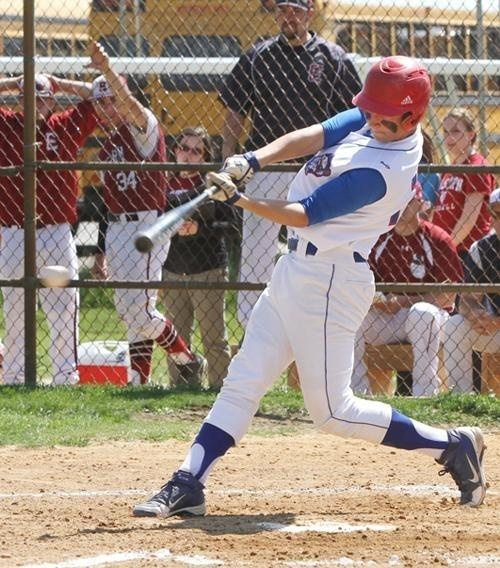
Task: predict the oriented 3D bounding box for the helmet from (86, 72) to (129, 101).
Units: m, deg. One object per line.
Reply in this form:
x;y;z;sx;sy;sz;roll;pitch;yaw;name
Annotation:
-0.876;-1.163;5.647;0.137;0.100;0.198;-26;15;13;helmet

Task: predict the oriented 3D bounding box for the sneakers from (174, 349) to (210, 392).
-0.371;0.534;5.877;0.252;0.278;0.193;0;1;-42;sneakers

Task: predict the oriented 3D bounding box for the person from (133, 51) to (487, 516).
0.260;0.028;3.360;1.276;1.632;0.392;0;7;-6;person

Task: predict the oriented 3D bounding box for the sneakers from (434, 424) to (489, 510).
0.798;0.657;3.611;0.187;0.341;0.127;-10;1;-20;sneakers

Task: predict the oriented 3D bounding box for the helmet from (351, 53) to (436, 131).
0.482;-0.668;3.274;0.279;0.187;0.192;-24;47;-16;helmet

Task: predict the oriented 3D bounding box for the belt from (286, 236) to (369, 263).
0.260;-0.118;3.352;0.284;0.090;0.145;1;6;8;belt

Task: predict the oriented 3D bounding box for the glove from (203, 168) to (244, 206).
-0.074;-0.321;3.166;0.122;0.090;0.053;35;40;-12;glove

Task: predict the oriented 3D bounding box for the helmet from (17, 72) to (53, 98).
-1.280;-1.160;5.631;0.178;0.161;0.225;-1;10;-2;helmet

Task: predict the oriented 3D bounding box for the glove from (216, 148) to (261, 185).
-0.044;-0.400;3.254;0.132;0.054;0.092;-24;57;-35;glove

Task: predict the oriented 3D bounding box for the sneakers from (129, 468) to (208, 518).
-0.262;0.747;3.435;0.342;0.160;0.114;6;-1;-28;sneakers

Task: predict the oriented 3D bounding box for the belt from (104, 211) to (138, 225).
-0.768;-0.394;5.706;0.241;0.062;0.053;5;8;43;belt

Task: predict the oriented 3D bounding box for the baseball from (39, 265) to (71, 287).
-1.123;-0.037;5.449;0.165;0.130;0.189;-3;7;-32;baseball
